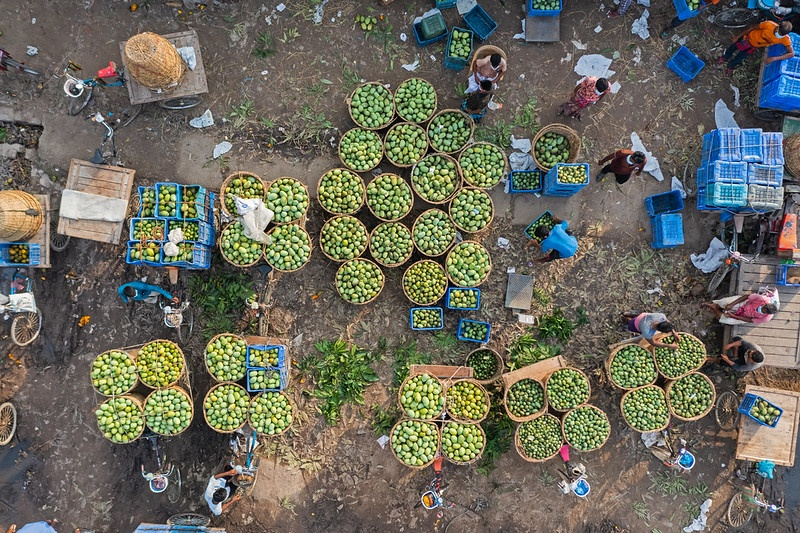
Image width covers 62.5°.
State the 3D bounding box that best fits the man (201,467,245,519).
[{"bbox_3d":[-5.477,6.919,20.391,0.849,1.467,0.723,-30,98,-10],"label":"man"}]

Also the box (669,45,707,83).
[{"bbox_3d":[9.345,-6.586,21.517,0.958,0.447,1.223,38,102,-5],"label":"box"}]

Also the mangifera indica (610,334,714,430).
[{"bbox_3d":[8.100,3.545,20.628,3.071,0.799,2.827,-11,85,-1],"label":"mangifera indica"}]

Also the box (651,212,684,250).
[{"bbox_3d":[8.626,-1.174,21.434,0.990,0.772,1.090,1,97,1],"label":"box"}]

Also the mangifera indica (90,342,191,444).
[{"bbox_3d":[-7.866,3.787,21.090,2.914,1.309,3.163,-11,89,-8],"label":"mangifera indica"}]

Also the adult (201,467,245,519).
[{"bbox_3d":[-5.477,6.919,20.391,0.849,1.467,0.723,-30,98,-10],"label":"adult"}]

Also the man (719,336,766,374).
[{"bbox_3d":[10.773,2.764,20.717,1.124,1.382,1.121,8,100,17],"label":"man"}]

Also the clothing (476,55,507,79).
[{"bbox_3d":[2.760,-6.097,19.875,0.840,1.256,0.786,2,100,3],"label":"clothing"}]

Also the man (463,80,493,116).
[{"bbox_3d":[2.449,-5.287,20.647,0.843,1.497,0.738,1,71,-6],"label":"man"}]

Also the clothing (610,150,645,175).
[{"bbox_3d":[7.039,-3.207,20.384,1.026,2.363,0.656,3,97,8],"label":"clothing"}]

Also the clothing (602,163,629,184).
[{"bbox_3d":[6.853,-2.928,21.164,0.713,1.525,0.590,3,102,-4],"label":"clothing"}]

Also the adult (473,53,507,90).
[{"bbox_3d":[2.942,-5.855,19.985,0.961,1.329,1.012,4,106,-1],"label":"adult"}]

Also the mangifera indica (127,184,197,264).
[{"bbox_3d":[-7.161,-1.195,19.955,2.060,0.341,2.247,6,85,0],"label":"mangifera indica"}]

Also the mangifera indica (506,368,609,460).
[{"bbox_3d":[4.808,4.540,20.318,2.930,0.547,2.620,-13,86,-1],"label":"mangifera indica"}]

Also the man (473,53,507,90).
[{"bbox_3d":[2.941,-5.908,19.980,0.961,1.329,1.012,4,106,-1],"label":"man"}]

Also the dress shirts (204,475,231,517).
[{"bbox_3d":[-5.579,6.913,20.122,0.687,0.492,0.997,17,86,2],"label":"dress shirts"}]

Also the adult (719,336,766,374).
[{"bbox_3d":[10.838,2.821,20.701,1.124,1.382,1.121,8,100,17],"label":"adult"}]

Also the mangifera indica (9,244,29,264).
[{"bbox_3d":[-11.895,-0.393,20.502,0.563,0.181,0.619,-2,87,-2],"label":"mangifera indica"}]

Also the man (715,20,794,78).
[{"bbox_3d":[11.458,-6.882,21.103,1.197,2.274,0.634,45,81,-11],"label":"man"}]

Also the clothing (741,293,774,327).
[{"bbox_3d":[10.884,1.264,19.985,0.605,0.733,0.918,-16,86,-1],"label":"clothing"}]

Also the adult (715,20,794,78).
[{"bbox_3d":[11.458,-6.882,21.103,1.197,2.274,0.634,45,81,-11],"label":"adult"}]

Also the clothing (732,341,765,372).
[{"bbox_3d":[10.917,2.817,20.454,0.789,0.602,0.939,19,86,2],"label":"clothing"}]
